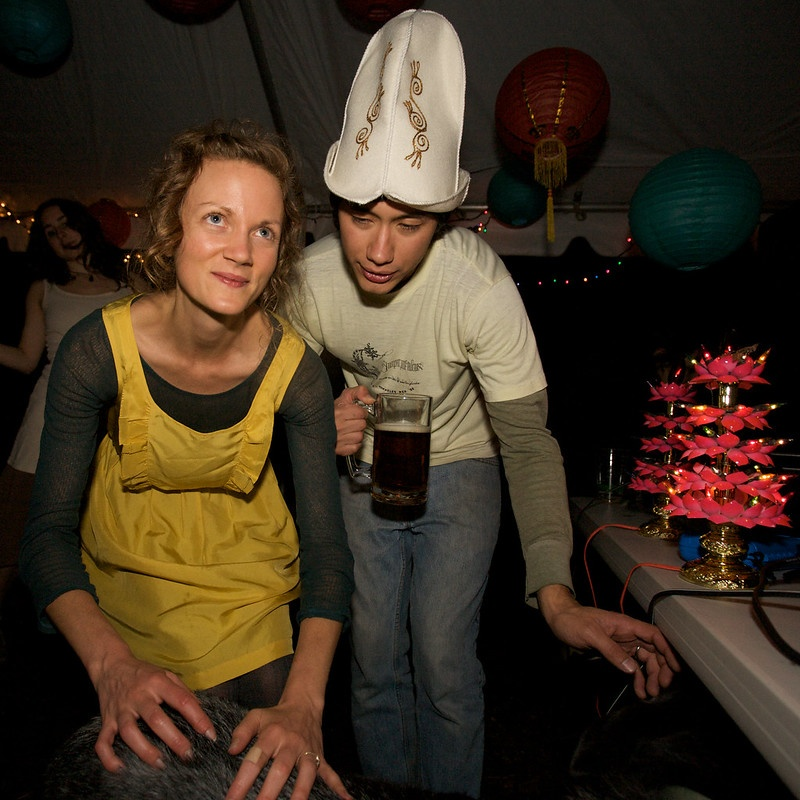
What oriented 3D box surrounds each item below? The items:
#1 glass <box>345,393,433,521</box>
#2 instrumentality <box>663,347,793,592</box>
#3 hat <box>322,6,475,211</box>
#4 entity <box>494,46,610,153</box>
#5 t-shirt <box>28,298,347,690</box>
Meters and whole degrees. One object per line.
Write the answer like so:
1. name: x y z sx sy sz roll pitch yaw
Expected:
1. glass: -0.007 0.119 1.875 0.177 0.286 0.131 11 25 18
2. instrumentality: 0.860 0.175 1.963 0.298 0.597 0.300 -4 3 -16
3. hat: -0.001 -0.745 1.918 0.391 0.546 0.192 3 -5 4
4. entity: 0.613 -1.170 3.084 0.399 0.457 0.295 11 22 2
5. t-shirt: -0.526 0.216 1.875 0.738 0.881 0.603 0 14 -29
